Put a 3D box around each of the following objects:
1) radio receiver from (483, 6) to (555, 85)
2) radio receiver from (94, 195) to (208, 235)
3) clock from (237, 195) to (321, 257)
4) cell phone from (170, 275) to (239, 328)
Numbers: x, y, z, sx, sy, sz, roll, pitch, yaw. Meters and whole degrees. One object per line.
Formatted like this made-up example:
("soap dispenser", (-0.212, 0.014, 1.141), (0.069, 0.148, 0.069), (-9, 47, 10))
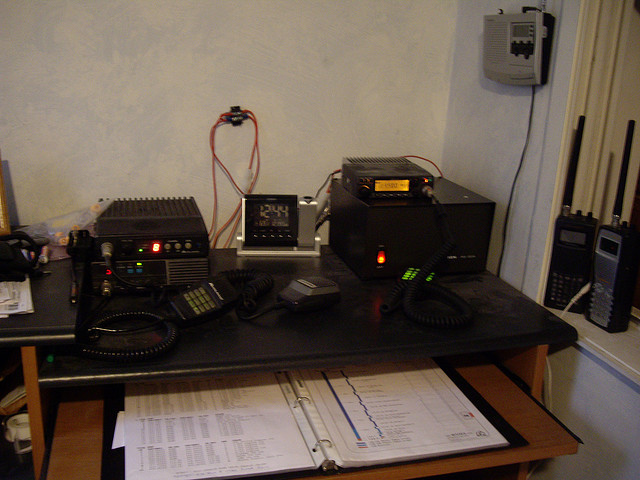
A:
("radio receiver", (0.725, -0.706, 1.869), (0.102, 0.259, 0.275), (-16, 30, -12))
("radio receiver", (-0.585, -0.126, 1.915), (0.440, 0.116, 0.541), (0, 15, -7))
("clock", (-0.144, -0.060, 2.216), (0.372, 0.262, 0.200), (1, 7, 19))
("cell phone", (-0.371, 0.198, 1.681), (0.202, 0.064, 0.125), (-18, 59, -32))
